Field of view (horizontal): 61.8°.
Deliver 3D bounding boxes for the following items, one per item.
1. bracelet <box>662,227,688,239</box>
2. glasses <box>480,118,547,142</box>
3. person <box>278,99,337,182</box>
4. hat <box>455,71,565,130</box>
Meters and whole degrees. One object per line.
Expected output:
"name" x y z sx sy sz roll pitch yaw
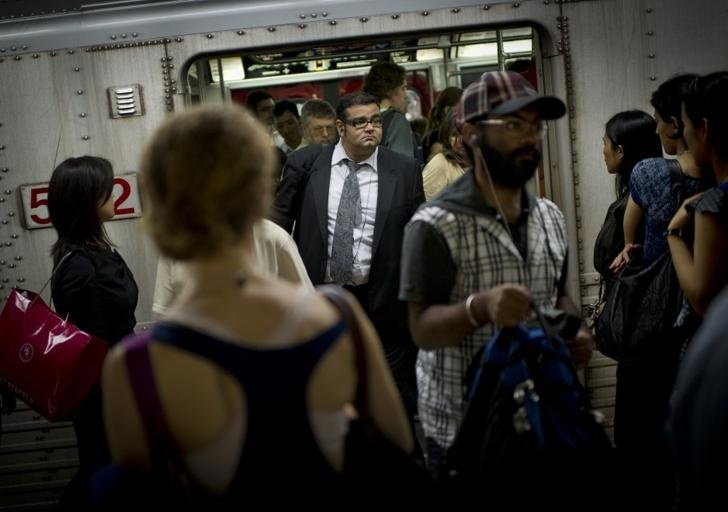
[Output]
"bracelet" 1.441 -0.103 2.821 0.057 0.042 0.060 12 -9 -32
"glasses" 0.619 -0.539 2.548 0.274 0.100 0.091 -7 9 -12
"person" -0.538 -1.225 6.305 0.660 0.880 0.416 -21 38 -39
"hat" 0.605 -0.675 2.556 0.324 0.175 0.234 -7 2 38
